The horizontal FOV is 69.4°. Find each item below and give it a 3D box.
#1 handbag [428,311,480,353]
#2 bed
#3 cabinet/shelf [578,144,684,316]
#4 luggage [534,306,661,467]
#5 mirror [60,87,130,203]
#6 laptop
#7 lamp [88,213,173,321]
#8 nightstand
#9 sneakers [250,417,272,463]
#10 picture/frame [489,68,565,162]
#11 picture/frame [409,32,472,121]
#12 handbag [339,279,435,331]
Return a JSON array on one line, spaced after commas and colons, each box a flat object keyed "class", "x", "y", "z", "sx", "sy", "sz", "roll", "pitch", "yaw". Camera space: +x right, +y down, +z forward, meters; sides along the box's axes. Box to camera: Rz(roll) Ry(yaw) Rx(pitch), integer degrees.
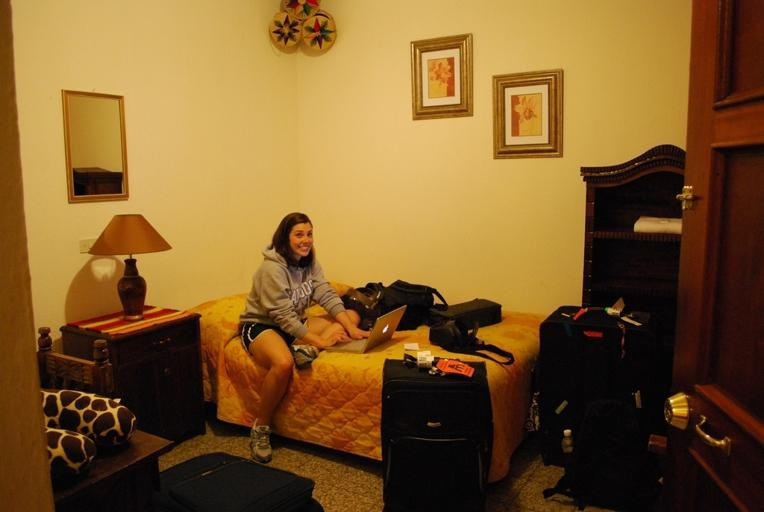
[{"class": "handbag", "x": 0.451, "y": 0.468, "z": 3.385, "sx": 0.239, "sy": 0.145, "sz": 0.174, "roll": 11, "pitch": 13, "yaw": 32}, {"class": "bed", "x": -0.066, "y": 0.777, "z": 3.298, "sx": 1.492, "sy": 0.523, "sz": 1.080, "roll": 3, "pitch": 10, "yaw": 25}, {"class": "cabinet/shelf", "x": 1.558, "y": -0.158, "z": 3.486, "sx": 0.584, "sy": 1.052, "sz": 0.404, "roll": 4, "pitch": 9, "yaw": 24}, {"class": "luggage", "x": 1.193, "y": 0.825, "z": 3.219, "sx": 0.589, "sy": 0.783, "sz": 0.472, "roll": 5, "pitch": -25, "yaw": 9}, {"class": "mirror", "x": -1.748, "y": -0.660, "z": 3.369, "sx": 0.027, "sy": 0.681, "sz": 0.369, "roll": 11, "pitch": 13, "yaw": 41}, {"class": "laptop", "x": -0.093, "y": 0.408, "z": 3.417, "sx": 0.310, "sy": 0.210, "sz": 0.336, "roll": 1, "pitch": 4, "yaw": 26}, {"class": "lamp", "x": -1.468, "y": 0.061, "z": 3.284, "sx": 0.384, "sy": 0.615, "sz": 0.359, "roll": 0, "pitch": 9, "yaw": 0}, {"class": "nightstand", "x": -1.430, "y": 0.616, "z": 3.605, "sx": 0.724, "sy": 1.093, "sz": 0.852, "roll": 2, "pitch": 7, "yaw": 26}, {"class": "sneakers", "x": -0.702, "y": 1.086, "z": 3.185, "sx": 0.092, "sy": 0.114, "sz": 0.250, "roll": 3, "pitch": -2, "yaw": -25}, {"class": "picture/frame", "x": 1.066, "y": -1.039, "z": 3.987, "sx": 0.682, "sy": 0.872, "sz": 0.058, "roll": 0, "pitch": 2, "yaw": 28}, {"class": "picture/frame", "x": 0.461, "y": -1.401, "z": 4.223, "sx": 0.641, "sy": 0.761, "sz": 0.062, "roll": 4, "pitch": 10, "yaw": 28}, {"class": "handbag", "x": 0.054, "y": 0.326, "z": 3.887, "sx": 0.484, "sy": 0.215, "sz": 0.364, "roll": 2, "pitch": 6, "yaw": 18}]
